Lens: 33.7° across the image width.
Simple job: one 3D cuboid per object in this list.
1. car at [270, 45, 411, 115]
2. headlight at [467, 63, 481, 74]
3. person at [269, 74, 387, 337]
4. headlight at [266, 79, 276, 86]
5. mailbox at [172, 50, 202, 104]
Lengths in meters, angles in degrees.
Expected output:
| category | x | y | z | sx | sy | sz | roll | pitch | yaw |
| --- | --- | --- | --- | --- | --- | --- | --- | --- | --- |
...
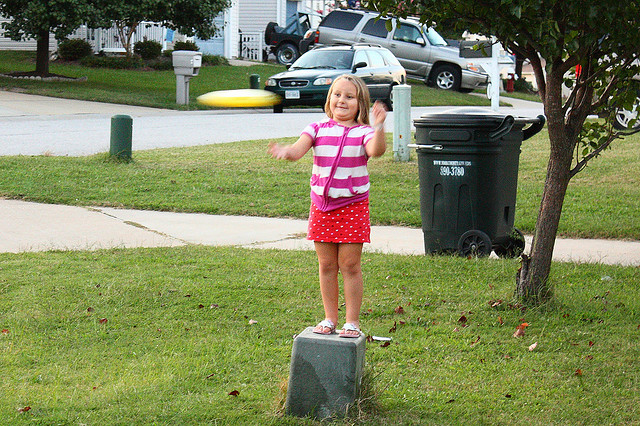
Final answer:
| category | x | y | z | sx | sy | sz | roll | pitch | yaw |
| --- | --- | --- | --- | --- | --- | --- | --- | --- | --- |
| car | 0.187 | -3.217 | 24.839 | 1.994 | 1.497 | 3.975 | 1 | 3 | 39 |
| headlight | 4.626 | -4.335 | 31.603 | 0.600 | 0.253 | 0.256 | -7 | 13 | -42 |
| person | 0.151 | -0.099 | 9.835 | 0.778 | 2.337 | 0.671 | 7 | 11 | 28 |
| headlight | -1.194 | -3.039 | 24.583 | 0.131 | 0.156 | 0.364 | -4 | 12 | -33 |
| mailbox | -3.473 | -3.564 | 26.931 | 0.690 | 1.445 | 0.876 | 2 | -5 | -5 |
